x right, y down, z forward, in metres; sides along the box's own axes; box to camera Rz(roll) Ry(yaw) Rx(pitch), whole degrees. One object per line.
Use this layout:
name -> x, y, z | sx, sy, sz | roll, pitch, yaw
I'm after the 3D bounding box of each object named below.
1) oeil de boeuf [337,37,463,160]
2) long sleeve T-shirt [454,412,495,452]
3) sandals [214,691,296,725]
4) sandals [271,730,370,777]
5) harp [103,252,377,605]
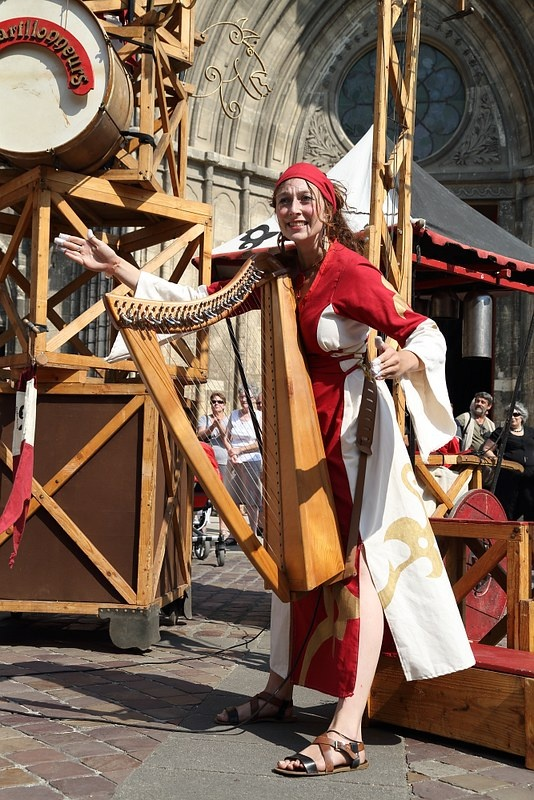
oeil de boeuf -> 2.232, -4.912, 17.387 | 2.433, 2.096, 0.111 | 7, 20, 28
long sleeve T-shirt -> 1.757, 0.284, 8.931 | 0.320, 0.267, 0.170 | 14, -21, -37
sandals -> -0.043, 1.134, 3.859 | 0.285, 0.083, 0.104 | 2, -8, -10
sandals -> 0.170, 1.143, 3.388 | 0.290, 0.103, 0.117 | 3, -10, -15
harp -> -0.069, 0.080, 3.384 | 0.481, 1.125, 0.642 | 5, 3, 38
